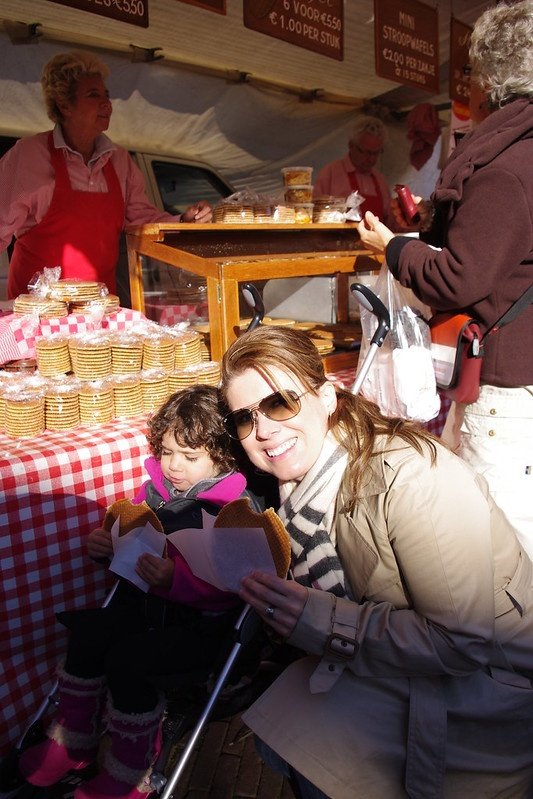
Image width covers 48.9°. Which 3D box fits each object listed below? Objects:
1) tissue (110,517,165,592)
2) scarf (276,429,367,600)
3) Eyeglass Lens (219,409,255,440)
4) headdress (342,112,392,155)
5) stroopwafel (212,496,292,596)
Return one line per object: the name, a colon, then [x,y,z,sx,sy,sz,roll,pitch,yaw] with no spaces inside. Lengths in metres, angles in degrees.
tissue: [-0.324,0.404,1.527,0.149,0.186,0.064,-1,10,8]
scarf: [0.108,0.279,1.388,0.112,0.321,0.255,2,-12,-41]
Eyeglass Lens: [-0.075,0.067,1.502,0.028,0.083,0.084,26,53,7]
headdress: [0.833,-2.188,4.905,0.239,0.284,0.303,1,20,-8]
stroopwafel: [-0.025,0.287,1.194,0.040,0.167,0.155,-11,-24,-44]
